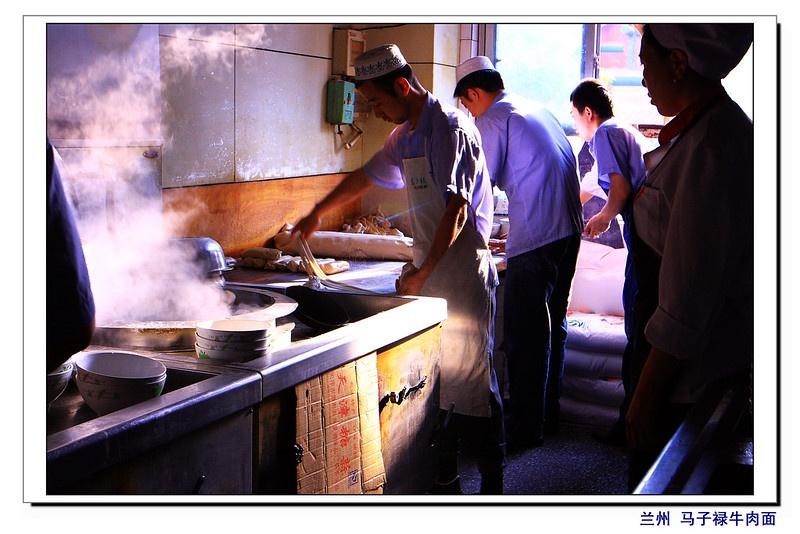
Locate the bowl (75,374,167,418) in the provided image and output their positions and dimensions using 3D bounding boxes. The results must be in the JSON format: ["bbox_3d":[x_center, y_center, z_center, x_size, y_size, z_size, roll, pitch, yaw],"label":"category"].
[{"bbox_3d":[-0.658,0.298,1.375,0.235,0.112,0.072,-1,12,12],"label":"bowl"}]

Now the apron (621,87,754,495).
[{"bbox_3d":[0.711,0.010,1.429,0.269,0.834,0.299,1,12,21],"label":"apron"}]

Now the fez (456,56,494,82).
[{"bbox_3d":[0.447,-1.116,3.367,0.189,0.098,0.190,-21,12,11],"label":"fez"}]

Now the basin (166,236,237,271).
[{"bbox_3d":[-0.713,-0.043,2.140,0.110,0.143,0.184,-1,12,15],"label":"basin"}]
